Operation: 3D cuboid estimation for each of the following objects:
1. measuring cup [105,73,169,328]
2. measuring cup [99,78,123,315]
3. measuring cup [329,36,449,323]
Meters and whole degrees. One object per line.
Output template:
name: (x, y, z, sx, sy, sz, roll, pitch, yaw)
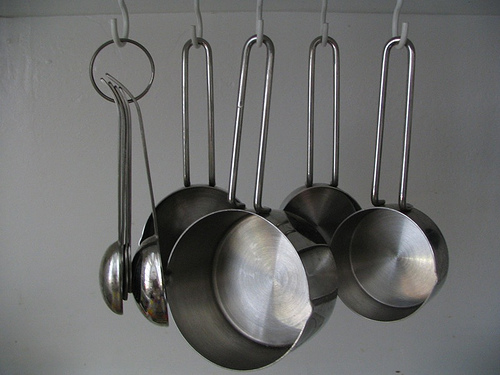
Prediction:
measuring cup: (-0.233, -0.081, 1.174, 0.125, 0.709, 0.094, -3, -22, 1)
measuring cup: (-0.283, 0.021, 1.099, 0.046, 0.462, 0.105, 1, -4, 0)
measuring cup: (0.334, 0.010, 1.268, 0.219, 0.691, 0.271, 11, 13, 39)
